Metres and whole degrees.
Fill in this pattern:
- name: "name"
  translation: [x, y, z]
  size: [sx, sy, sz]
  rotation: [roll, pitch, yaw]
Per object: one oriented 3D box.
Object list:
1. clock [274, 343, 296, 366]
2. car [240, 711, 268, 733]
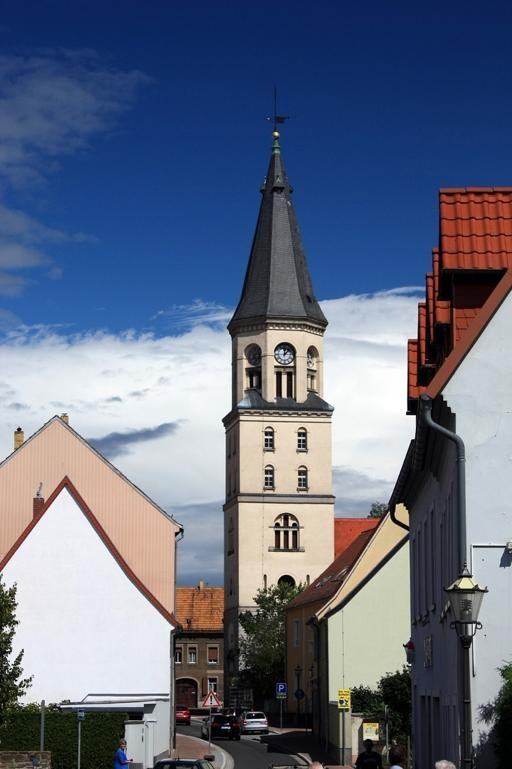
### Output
- name: "clock"
  translation: [1.834, -2.016, 106.257]
  size: [1.319, 1.655, 0.120]
  rotation: [0, 1, 3]
- name: "car"
  translation: [-0.062, 14.133, 67.604]
  size: [0.975, 1.127, 2.736]
  rotation: [1, -17, -3]
